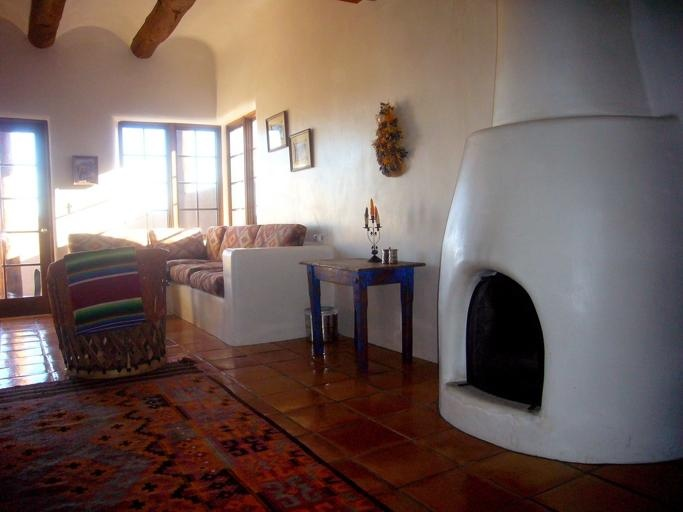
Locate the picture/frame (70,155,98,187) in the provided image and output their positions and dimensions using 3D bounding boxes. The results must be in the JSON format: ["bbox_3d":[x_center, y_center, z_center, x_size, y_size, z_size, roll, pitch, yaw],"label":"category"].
[{"bbox_3d":[-3.273,-1.081,6.216,0.399,0.546,0.058,0,1,-43],"label":"picture/frame"}]

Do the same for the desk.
[{"bbox_3d":[0.119,0.213,3.763,0.704,0.844,0.929,-6,9,-32],"label":"desk"}]

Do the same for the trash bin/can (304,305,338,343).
[{"bbox_3d":[-0.168,0.593,4.226,0.280,0.284,0.254,2,-2,-20],"label":"trash bin/can"}]
